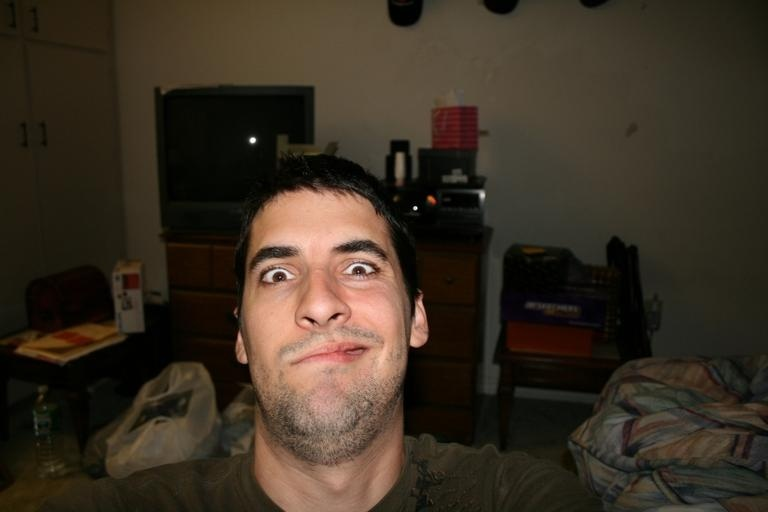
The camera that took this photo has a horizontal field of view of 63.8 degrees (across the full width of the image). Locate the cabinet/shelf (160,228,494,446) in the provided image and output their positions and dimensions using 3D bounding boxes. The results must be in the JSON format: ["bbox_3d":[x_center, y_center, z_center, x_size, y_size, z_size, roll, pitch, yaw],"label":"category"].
[{"bbox_3d":[-0.281,0.429,3.268,1.503,1.354,0.581,0,3,6],"label":"cabinet/shelf"}]

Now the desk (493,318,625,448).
[{"bbox_3d":[1.125,0.800,4.118,0.744,0.604,0.591,2,-1,13],"label":"desk"}]

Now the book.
[{"bbox_3d":[-2.033,0.556,4.013,0.302,0.070,0.303,7,13,25],"label":"book"}]

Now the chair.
[{"bbox_3d":[-2.243,0.285,4.281,0.417,0.417,0.594,-6,2,20],"label":"chair"}]
